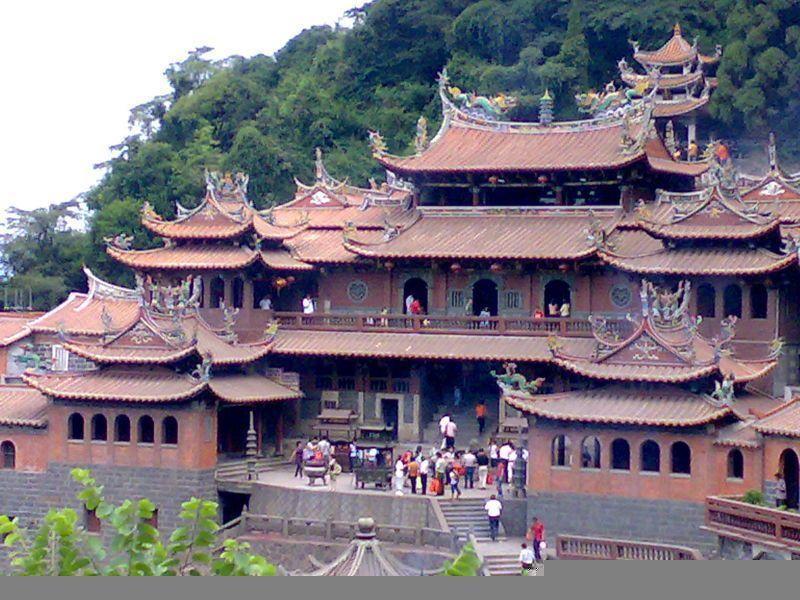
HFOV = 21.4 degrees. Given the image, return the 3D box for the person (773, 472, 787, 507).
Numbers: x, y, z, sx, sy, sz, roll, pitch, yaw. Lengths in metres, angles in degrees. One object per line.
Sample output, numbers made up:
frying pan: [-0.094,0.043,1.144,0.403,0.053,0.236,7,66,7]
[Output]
person: [14.941,7.505,83.421,0.427,1.345,0.871,-2,-10,8]

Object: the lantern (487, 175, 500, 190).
lantern: [4.353,-5.481,98.272,0.469,0.524,0.478,-1,-2,-13]

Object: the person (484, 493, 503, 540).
person: [3.853,9.089,87.293,0.678,1.884,1.458,-1,-10,3]

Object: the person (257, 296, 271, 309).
person: [-6.226,0.211,98.223,0.506,0.724,0.703,0,-10,-4]

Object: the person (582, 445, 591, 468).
person: [7.702,6.556,87.656,0.388,0.962,1.274,-2,-11,8]
